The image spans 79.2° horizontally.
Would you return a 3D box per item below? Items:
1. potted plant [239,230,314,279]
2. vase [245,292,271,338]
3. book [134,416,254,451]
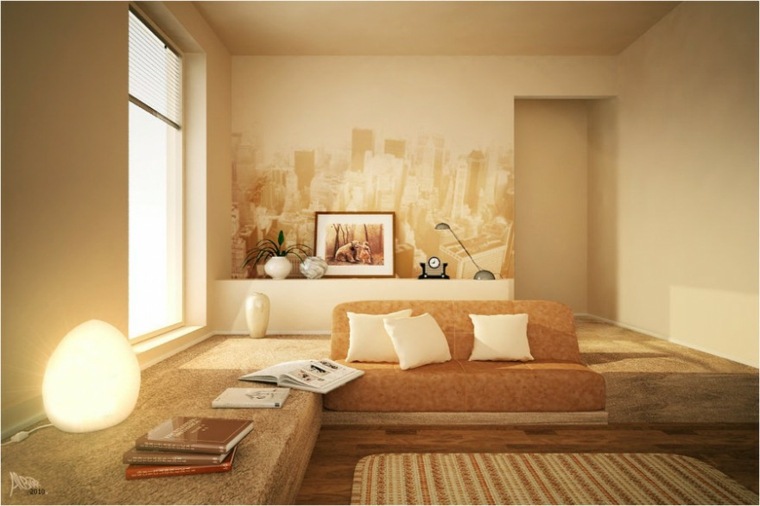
[{"bbox_3d":[-1.473,-0.004,6.269,0.808,0.437,0.766,0,-4,14],"label":"potted plant"},{"bbox_3d":[-1.415,0.726,5.337,0.251,0.529,0.179,-8,15,-21],"label":"vase"},{"bbox_3d":[-1.056,1.052,2.678,0.562,0.144,0.341,0,13,5],"label":"book"}]
